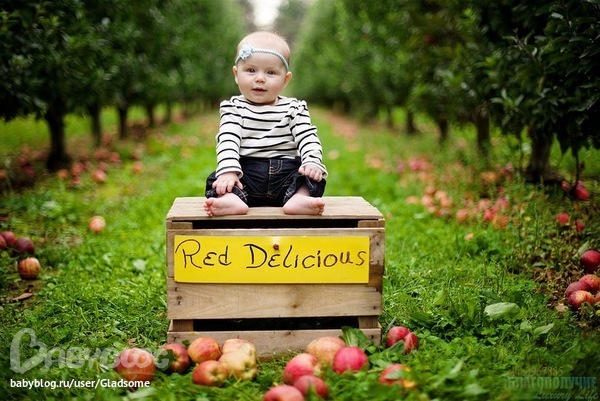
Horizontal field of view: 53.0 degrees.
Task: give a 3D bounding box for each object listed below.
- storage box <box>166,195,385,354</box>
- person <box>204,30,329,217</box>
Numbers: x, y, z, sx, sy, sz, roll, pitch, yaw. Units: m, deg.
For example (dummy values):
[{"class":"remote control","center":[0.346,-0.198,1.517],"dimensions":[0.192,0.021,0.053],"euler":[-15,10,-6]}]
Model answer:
[{"class":"storage box","center":[-0.228,0.419,4.815],"dimensions":[1.635,1.168,1.260],"euler":[-2,23,-14]},{"class":"person","center":[-0.295,-0.602,4.573],"dimensions":[0.892,1.416,1.003],"euler":[-2,9,-15]}]
